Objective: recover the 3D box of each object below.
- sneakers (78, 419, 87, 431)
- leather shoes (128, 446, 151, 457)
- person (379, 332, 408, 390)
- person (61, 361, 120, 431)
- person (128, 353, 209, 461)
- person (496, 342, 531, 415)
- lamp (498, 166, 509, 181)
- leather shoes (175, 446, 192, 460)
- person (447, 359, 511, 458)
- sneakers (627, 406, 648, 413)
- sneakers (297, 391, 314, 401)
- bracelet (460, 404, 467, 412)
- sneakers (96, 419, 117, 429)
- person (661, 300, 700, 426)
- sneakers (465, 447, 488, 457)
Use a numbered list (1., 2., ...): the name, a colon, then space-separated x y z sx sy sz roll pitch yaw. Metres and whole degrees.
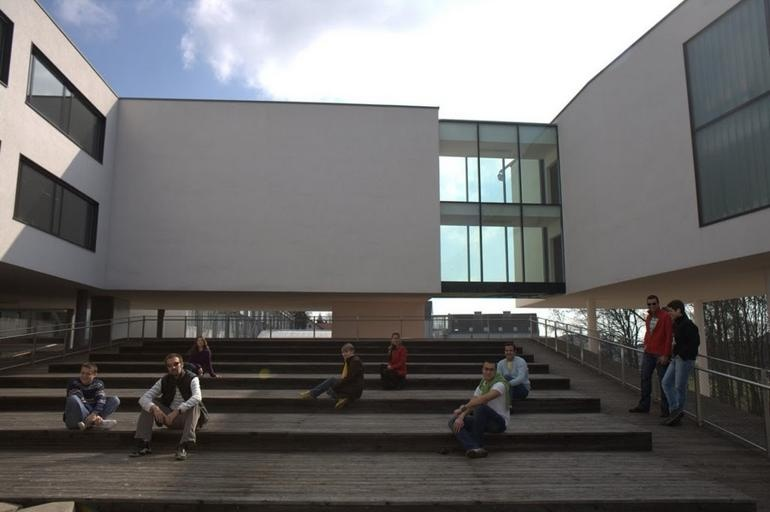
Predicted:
1. sneakers: -6.624 3.693 12.182 0.091 0.292 0.187 1 -2 -14
2. leather shoes: -5.262 4.163 11.858 0.485 0.206 0.170 11 -14 -23
3. person: 0.247 2.992 15.983 0.702 1.533 0.772 0 -11 -2
4. person: -6.853 3.214 12.753 1.155 1.680 1.319 5 -10 -36
5. person: -4.672 3.241 12.180 1.365 2.156 0.641 -1 -11 7
6. person: 3.316 3.198 14.314 0.886 1.923 1.305 -15 -29 37
7. lamp: 5.302 -3.661 24.897 0.458 0.148 0.481 -11 -27 10
8. leather shoes: -4.274 4.157 11.844 0.235 0.273 0.441 -2 -11 9
9. person: 2.101 3.301 12.066 1.219 1.956 0.530 -1 -11 7
10. sneakers: 6.539 3.945 14.356 0.463 0.214 0.172 1 -5 13
11. sneakers: -2.036 3.565 14.273 0.408 0.219 0.162 7 -12 -7
12. bracelet: 1.718 3.287 12.069 0.148 0.149 0.147 -1 -11 7
13. sneakers: -6.243 3.736 12.397 0.429 0.187 0.153 -3 -5 -3
14. person: 7.143 2.575 13.369 0.689 2.915 0.933 -1 -11 3
15. sneakers: 1.942 4.142 11.714 0.437 0.184 0.179 1 18 -10
